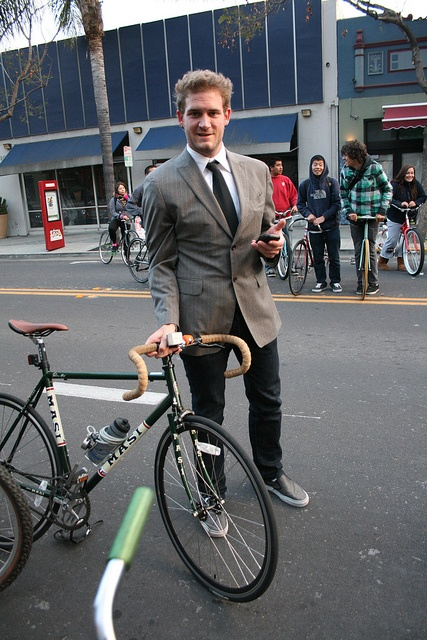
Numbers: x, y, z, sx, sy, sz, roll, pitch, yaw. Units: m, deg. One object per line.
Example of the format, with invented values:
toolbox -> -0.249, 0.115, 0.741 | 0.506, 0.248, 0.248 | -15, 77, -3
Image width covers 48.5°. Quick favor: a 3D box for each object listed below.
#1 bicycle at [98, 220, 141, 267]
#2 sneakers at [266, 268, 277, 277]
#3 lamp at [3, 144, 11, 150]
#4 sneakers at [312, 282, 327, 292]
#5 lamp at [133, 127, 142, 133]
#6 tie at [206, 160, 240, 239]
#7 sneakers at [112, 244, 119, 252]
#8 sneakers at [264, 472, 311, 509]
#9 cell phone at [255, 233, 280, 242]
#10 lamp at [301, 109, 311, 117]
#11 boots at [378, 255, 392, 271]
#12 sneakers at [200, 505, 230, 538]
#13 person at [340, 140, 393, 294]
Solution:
bicycle -> -2.487, -1.963, 12.236 | 0.902, 1.223, 1.833 | -2, 7, -34
sneakers -> 1.180, -0.983, 9.835 | 0.265, 0.162, 0.394 | -2, 10, 3
lamp -> -9.955, -8.433, 23.070 | 0.420, 0.318, 0.280 | -4, 13, -7
sneakers -> 1.857, -0.569, 8.330 | 0.115, 0.143, 0.346 | 0, 2, 26
lamp -> -3.158, -7.848, 19.699 | 0.374, 0.262, 0.337 | -1, 14, 6
tie -> 0.049, -0.573, 2.272 | 0.114, 0.382, 0.058 | -15, 1, -12
sneakers -> -2.588, -1.902, 12.495 | 0.143, 0.212, 0.199 | 0, 3, 0
sneakers -> 0.428, 0.977, 2.758 | 0.295, 0.129, 0.121 | 9, 19, 44
cell phone -> 0.243, -0.366, 2.117 | 0.102, 0.042, 0.034 | 10, 18, 42
lamp -> 3.319, -7.396, 17.045 | 0.250, 0.210, 0.260 | 1, 6, 11
boots -> 3.432, -1.136, 9.663 | 0.360, 0.309, 0.155 | 9, 21, 32
sneakers -> 0.014, 0.951, 2.217 | 0.076, 0.089, 0.216 | -1, -15, -11
person -> 2.345, -1.555, 7.437 | 0.742, 2.342, 0.581 | 1, 13, 15
